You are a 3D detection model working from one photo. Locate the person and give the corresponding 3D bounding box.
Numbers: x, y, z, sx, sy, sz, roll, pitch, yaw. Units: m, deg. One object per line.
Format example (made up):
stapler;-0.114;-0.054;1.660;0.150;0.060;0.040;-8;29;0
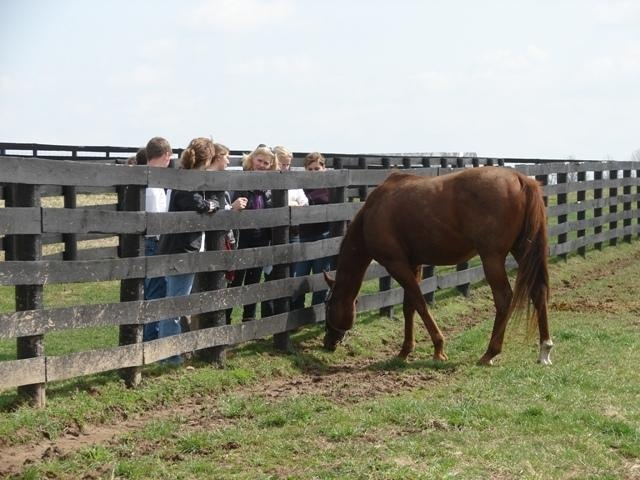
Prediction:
person;-1.551;0.101;11.381;1.134;2.435;1.241;-4;11;-22
